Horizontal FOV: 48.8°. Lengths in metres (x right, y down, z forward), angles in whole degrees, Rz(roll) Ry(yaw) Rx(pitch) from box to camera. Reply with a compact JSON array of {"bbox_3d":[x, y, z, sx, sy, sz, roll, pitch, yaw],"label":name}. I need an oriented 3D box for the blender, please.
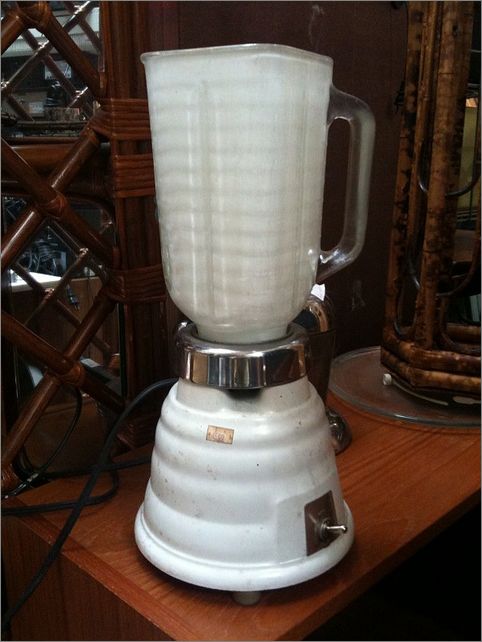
[{"bbox_3d":[0.001,0.000,0.368,0.165,0.331,0.155,4,9,32],"label":"blender"}]
